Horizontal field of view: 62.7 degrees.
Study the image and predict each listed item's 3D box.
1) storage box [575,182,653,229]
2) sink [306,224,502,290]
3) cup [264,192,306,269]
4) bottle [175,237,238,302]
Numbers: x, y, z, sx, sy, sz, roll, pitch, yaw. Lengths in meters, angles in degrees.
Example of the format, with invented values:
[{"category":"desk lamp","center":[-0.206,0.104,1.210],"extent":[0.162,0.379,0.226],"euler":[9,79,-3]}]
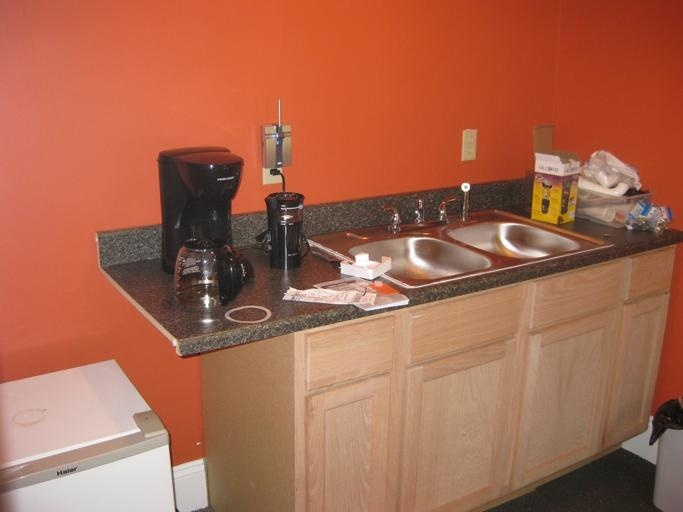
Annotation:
[{"category":"storage box","center":[1.172,-0.218,2.472],"extent":[0.266,0.096,0.188],"euler":[-12,21,-31]},{"category":"sink","center":[0.209,-0.006,2.221],"extent":[0.342,0.091,0.351],"euler":[-10,20,-38]},{"category":"cup","center":[-0.193,-0.083,1.949],"extent":[0.128,0.253,0.068],"euler":[-3,21,-6]},{"category":"bottle","center":[-0.434,0.042,1.764],"extent":[0.203,0.143,0.150],"euler":[7,13,12]}]
